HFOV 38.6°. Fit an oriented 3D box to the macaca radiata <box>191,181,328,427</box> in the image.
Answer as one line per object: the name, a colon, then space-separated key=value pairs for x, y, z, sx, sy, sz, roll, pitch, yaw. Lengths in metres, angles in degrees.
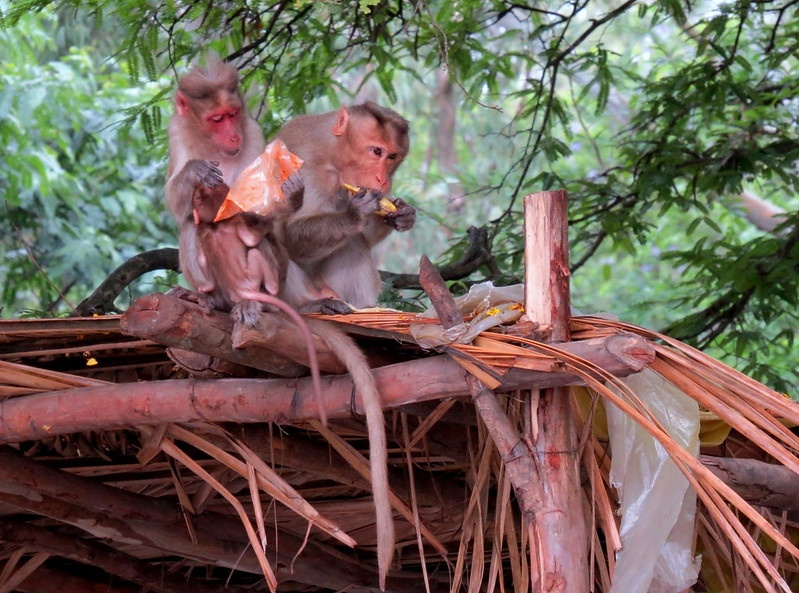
macaca radiata: x=-0.697 y=0.073 z=5.432 sx=0.290 sy=1.187 sz=0.479 roll=-26 pitch=-2 yaw=27
